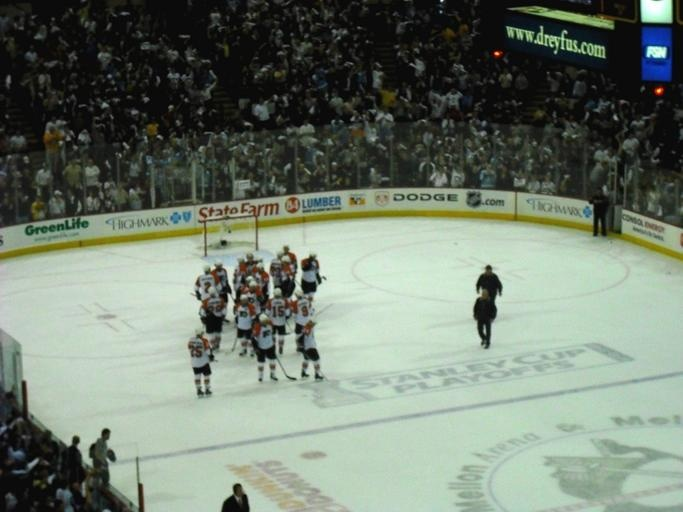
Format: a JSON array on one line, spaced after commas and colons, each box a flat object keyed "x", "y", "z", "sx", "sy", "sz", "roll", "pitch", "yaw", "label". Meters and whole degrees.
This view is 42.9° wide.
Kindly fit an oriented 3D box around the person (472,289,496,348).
[{"x": 3.781, "y": 1.598, "z": 22.910, "sx": 0.579, "sy": 1.618, "sz": 1.137, "roll": -3, "pitch": 8, "yaw": 9, "label": "person"}]

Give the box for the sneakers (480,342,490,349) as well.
[{"x": 3.796, "y": 2.333, "z": 22.906, "sx": 0.100, "sy": 0.206, "sz": 0.299, "roll": -2, "pitch": -1, "yaw": -11, "label": "sneakers"}]

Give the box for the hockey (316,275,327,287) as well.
[{"x": -0.544, "y": 0.772, "z": 27.741, "sx": 0.282, "sy": 0.281, "sz": 0.168, "roll": -6, "pitch": -10, "yaw": 26, "label": "hockey"}]

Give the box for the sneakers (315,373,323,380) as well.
[{"x": -0.524, "y": 2.951, "z": 21.430, "sx": 0.231, "sy": 0.162, "sz": 0.078, "roll": -6, "pitch": 13, "yaw": -15, "label": "sneakers"}]

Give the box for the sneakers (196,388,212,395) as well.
[{"x": -3.259, "y": 3.236, "z": 20.719, "sx": 0.361, "sy": 0.265, "sz": 0.123, "roll": -2, "pitch": 4, "yaw": 0, "label": "sneakers"}]

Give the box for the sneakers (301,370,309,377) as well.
[{"x": -0.892, "y": 2.902, "z": 21.564, "sx": 0.251, "sy": 0.189, "sz": 0.087, "roll": -9, "pitch": 14, "yaw": -34, "label": "sneakers"}]
